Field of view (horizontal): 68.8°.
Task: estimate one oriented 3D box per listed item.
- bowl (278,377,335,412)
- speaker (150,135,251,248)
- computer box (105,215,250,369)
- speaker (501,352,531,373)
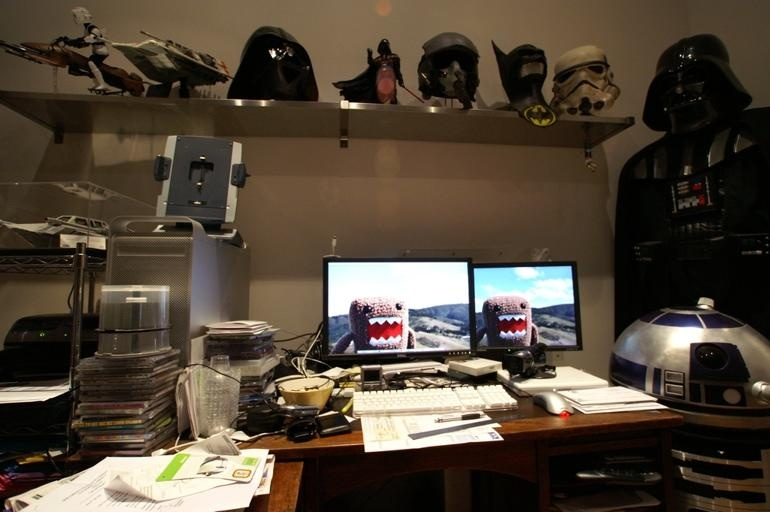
[{"bbox_3d":[-0.355,0.585,2.473,0.215,0.115,0.226,2,3,0],"label":"bowl"},{"bbox_3d":[-0.766,-0.298,2.821,0.547,0.467,0.532,0,-2,11],"label":"speaker"},{"bbox_3d":[-0.921,0.151,2.588,0.468,0.679,0.472,0,-5,-1],"label":"computer box"},{"bbox_3d":[0.602,0.486,2.614,0.090,0.079,0.107,-4,-5,36],"label":"speaker"}]
